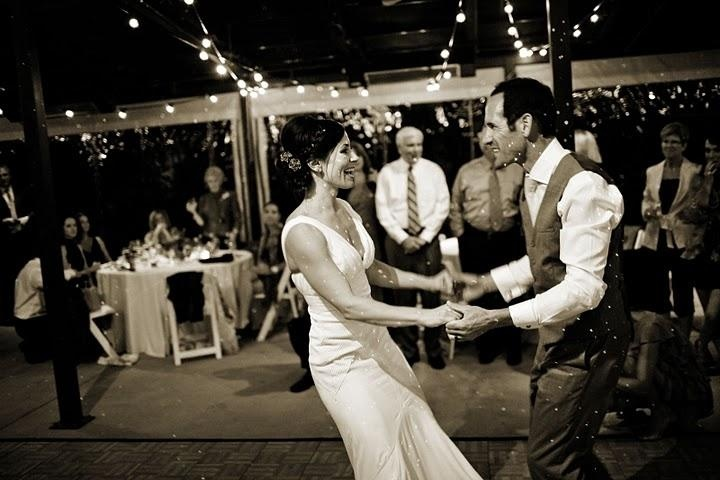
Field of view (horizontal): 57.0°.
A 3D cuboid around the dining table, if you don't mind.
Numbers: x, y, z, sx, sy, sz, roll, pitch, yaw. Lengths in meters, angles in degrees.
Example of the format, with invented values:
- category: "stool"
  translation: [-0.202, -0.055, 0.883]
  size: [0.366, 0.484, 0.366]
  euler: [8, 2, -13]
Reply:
- category: "dining table"
  translation: [-1.340, 0.519, 5.471]
  size: [0.688, 0.786, 1.341]
  euler: [4, 11, 40]

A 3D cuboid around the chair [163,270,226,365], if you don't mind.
- category: "chair"
  translation: [-1.355, 0.642, 5.356]
  size: [0.471, 0.717, 0.402]
  euler: [-5, -8, -29]
